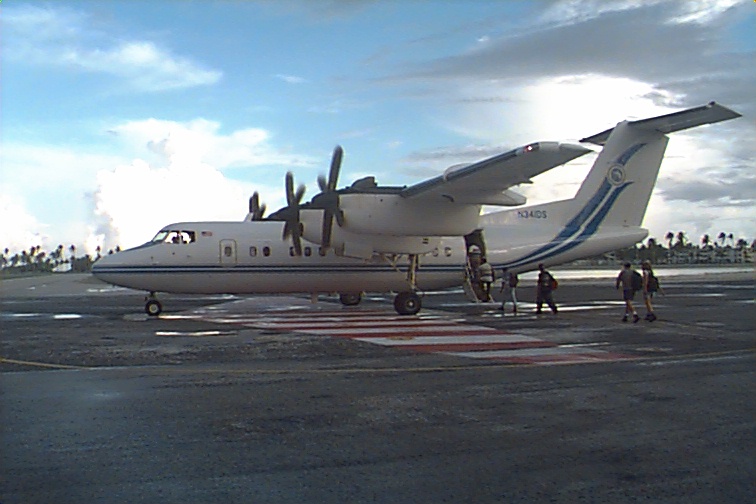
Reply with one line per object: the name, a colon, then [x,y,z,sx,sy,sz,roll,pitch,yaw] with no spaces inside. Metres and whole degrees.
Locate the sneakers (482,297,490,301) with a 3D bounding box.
sneakers: [3.889,1.666,21.393,0.194,0.111,0.100,0,6,5]

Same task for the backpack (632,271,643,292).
backpack: [7.636,0.823,17.456,0.276,0.582,0.471,2,6,23]

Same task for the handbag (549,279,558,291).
handbag: [5.771,1.012,19.572,0.213,0.408,0.908,2,6,21]
